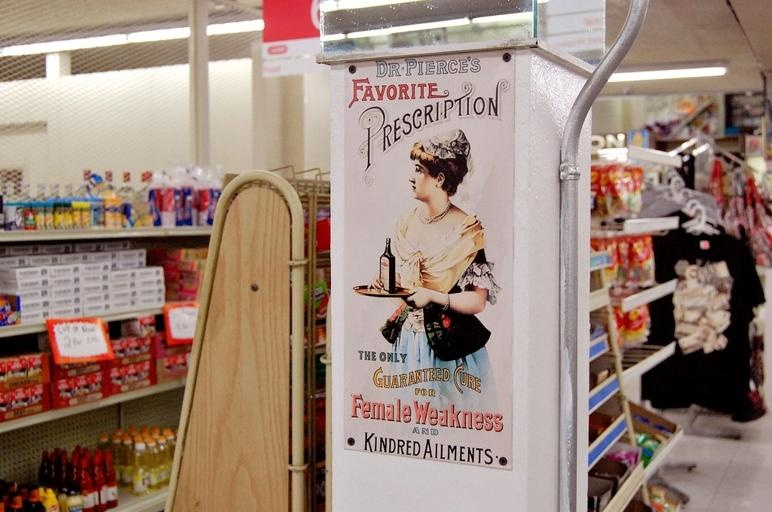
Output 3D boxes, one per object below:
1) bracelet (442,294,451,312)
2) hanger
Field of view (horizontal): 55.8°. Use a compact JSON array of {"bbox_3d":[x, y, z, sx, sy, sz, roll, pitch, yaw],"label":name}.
[{"bbox_3d":[0.274,0.219,3.316,0.045,0.069,0.026,-3,-4,36],"label":"bracelet"},{"bbox_3d":[2.383,-0.379,5.745,0.499,0.414,0.179,8,8,-11],"label":"hanger"}]
